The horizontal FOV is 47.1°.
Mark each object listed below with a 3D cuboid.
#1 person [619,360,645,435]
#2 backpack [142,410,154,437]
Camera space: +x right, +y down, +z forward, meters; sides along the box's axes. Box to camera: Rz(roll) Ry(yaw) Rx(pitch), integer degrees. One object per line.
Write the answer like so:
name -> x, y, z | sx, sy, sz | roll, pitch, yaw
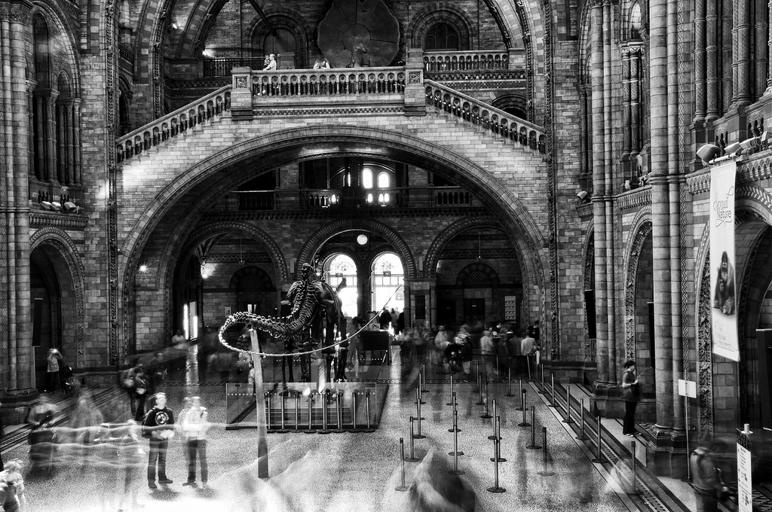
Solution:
person -> 6.961, 3.950, 25.420 | 0.438, 2.115, 1.512 | 1, 9, 15
backpack -> -5.754, 4.051, 21.642 | 0.190, 0.565, 0.411 | 8, -1, 26
